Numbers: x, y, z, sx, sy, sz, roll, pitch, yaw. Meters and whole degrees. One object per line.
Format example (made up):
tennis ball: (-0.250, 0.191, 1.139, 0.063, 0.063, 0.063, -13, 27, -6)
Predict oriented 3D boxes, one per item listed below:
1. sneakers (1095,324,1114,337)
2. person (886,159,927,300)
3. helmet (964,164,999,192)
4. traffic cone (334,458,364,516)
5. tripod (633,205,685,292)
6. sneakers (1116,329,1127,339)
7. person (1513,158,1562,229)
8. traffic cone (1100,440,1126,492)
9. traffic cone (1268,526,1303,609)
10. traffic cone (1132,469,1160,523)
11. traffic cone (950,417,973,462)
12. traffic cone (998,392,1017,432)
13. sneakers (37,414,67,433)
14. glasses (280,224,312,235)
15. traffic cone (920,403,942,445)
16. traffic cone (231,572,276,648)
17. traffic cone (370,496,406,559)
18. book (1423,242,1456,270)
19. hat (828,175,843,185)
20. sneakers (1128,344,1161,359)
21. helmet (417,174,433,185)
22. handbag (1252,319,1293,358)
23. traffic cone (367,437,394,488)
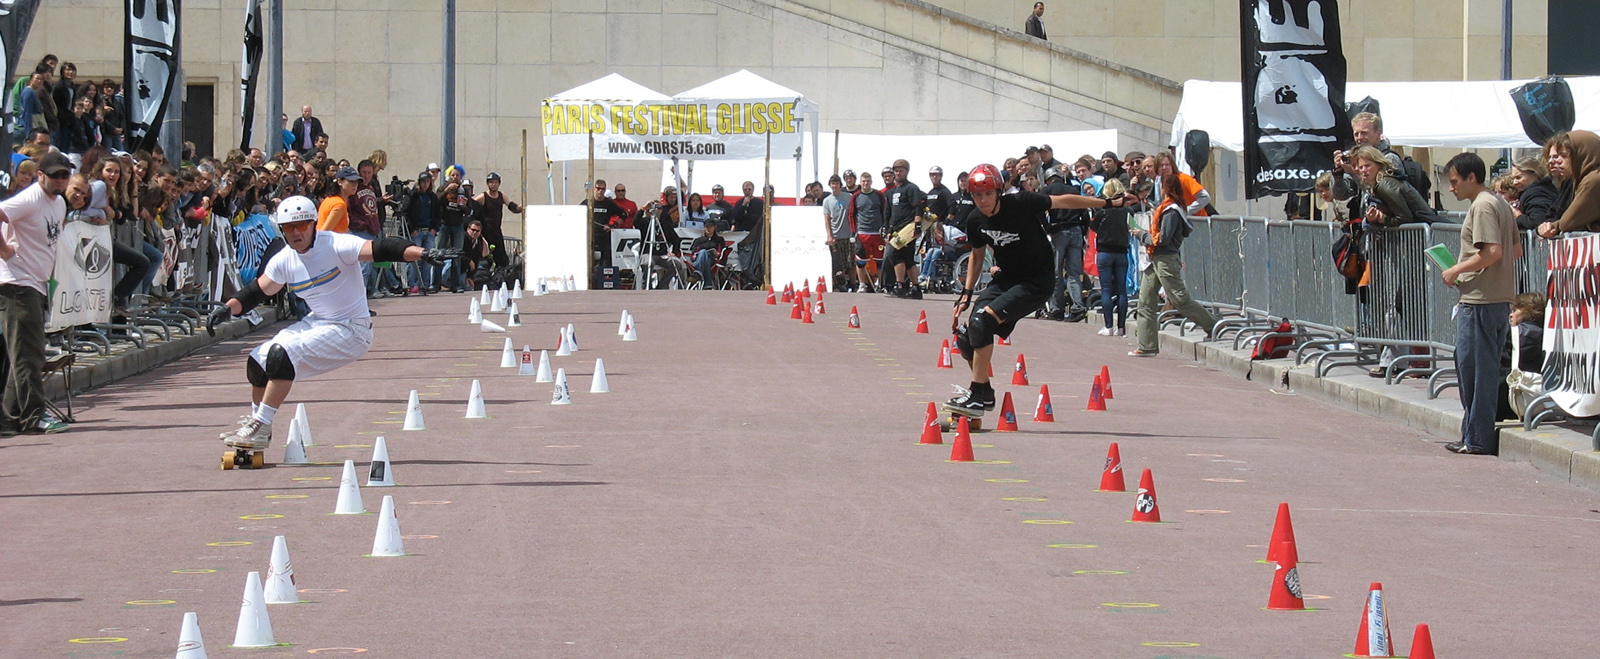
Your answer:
sneakers: (7.126, 0.092, 52.399, 0.315, 0.177, 0.499, -1, -2, 20)
person: (2.783, -2.596, 60.199, 1.004, 3.575, 1.361, 0, 7, 1)
helmet: (3.445, -2.797, 42.227, 0.474, 0.512, 0.580, 3, 8, 22)
traffic cone: (-7.705, 2.663, 37.844, 0.520, 0.879, 0.823, -1, 7, -11)
tripod: (-4.126, -2.346, 64.516, 1.208, 2.445, 0.726, 0, 7, -6)
sneakers: (7.485, 0.139, 52.219, 0.233, 0.175, 0.202, 1, 5, 4)
person: (13.471, -2.580, 41.652, 1.254, 1.389, 1.629, -2, -1, 21)
traffic cone: (5.445, 2.356, 39.075, 0.408, 0.819, 1.078, 1, 7, 8)
traffic cone: (7.730, 3.898, 35.415, 0.566, 1.091, 0.567, 3, 8, 19)
traffic cone: (5.857, 2.791, 37.836, 0.449, 0.887, 0.786, 1, 7, 8)
traffic cone: (2.904, 1.986, 40.356, 0.424, 0.692, 0.980, 1, 7, 4)
traffic cone: (3.900, 1.549, 42.087, 0.354, 0.688, 0.821, 1, 7, 5)
sneakers: (-13.984, 1.806, 41.566, 0.618, 0.245, 0.194, -1, 48, 54)
glasses: (-9.021, -1.749, 39.938, 0.549, 0.194, 0.114, -1, 7, -8)
traffic cone: (2.403, 1.723, 41.221, 0.404, 0.708, 1.023, 1, 7, 3)
traffic cone: (-8.471, 4.308, 34.457, 0.660, 1.189, 0.577, -1, 7, -12)
traffic cone: (-6.797, 3.212, 36.541, 0.564, 0.948, 0.568, -1, 7, -10)
book: (11.780, -1.234, 41.394, 0.545, 0.504, 0.154, -30, -22, -38)
hat: (0.948, -4.142, 63.305, 0.463, 0.206, 0.535, 1, 4, 1)
sneakers: (7.591, 0.549, 49.198, 0.675, 0.220, 0.218, 2, 1, 5)
helmet: (-10.365, -4.049, 61.262, 0.353, 0.309, 0.325, 0, 7, -3)
handbag: (9.970, 0.295, 47.144, 0.967, 0.736, 0.303, -2, 7, -15)
traffic cone: (-7.341, 2.265, 38.871, 0.431, 0.823, 1.062, -1, 7, -11)
